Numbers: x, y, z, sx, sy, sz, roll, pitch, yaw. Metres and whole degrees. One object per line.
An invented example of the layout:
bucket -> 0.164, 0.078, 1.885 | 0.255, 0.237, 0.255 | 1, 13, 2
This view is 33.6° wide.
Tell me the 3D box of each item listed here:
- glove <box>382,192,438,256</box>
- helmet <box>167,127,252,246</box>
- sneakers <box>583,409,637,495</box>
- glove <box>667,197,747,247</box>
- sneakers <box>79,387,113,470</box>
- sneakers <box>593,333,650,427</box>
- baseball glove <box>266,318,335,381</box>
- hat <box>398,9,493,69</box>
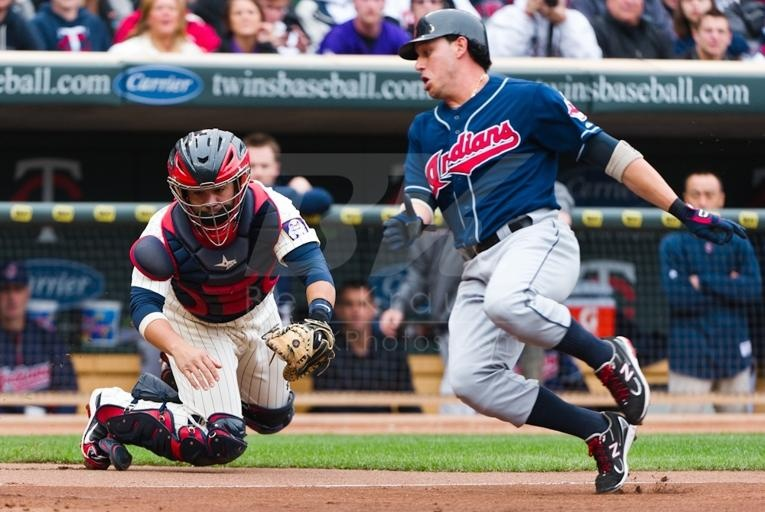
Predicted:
glove -> 0.141, -0.198, 7.156 | 0.208, 0.321, 0.258 | -2, -4, 31
helmet -> -0.911, -0.425, 7.082 | 0.494, 0.559, 0.603 | -10, 21, 2
sneakers -> 1.243, 1.082, 6.862 | 0.273, 0.491, 0.166 | 19, -33, -9
glove -> 1.715, -0.167, 6.816 | 0.480, 0.163, 0.184 | 20, 14, -1
sneakers -> -1.667, 1.000, 7.195 | 0.166, 0.467, 0.205 | 0, 10, 5
sneakers -> 1.292, 0.694, 6.899 | 0.280, 0.482, 0.183 | -1, -3, 7
baseball glove -> -0.495, 0.500, 6.826 | 0.312, 0.176, 0.379 | 32, 10, -30
hat -> 0.362, -1.211, 7.101 | 0.459, 0.215, 0.328 | 2, -10, -2
